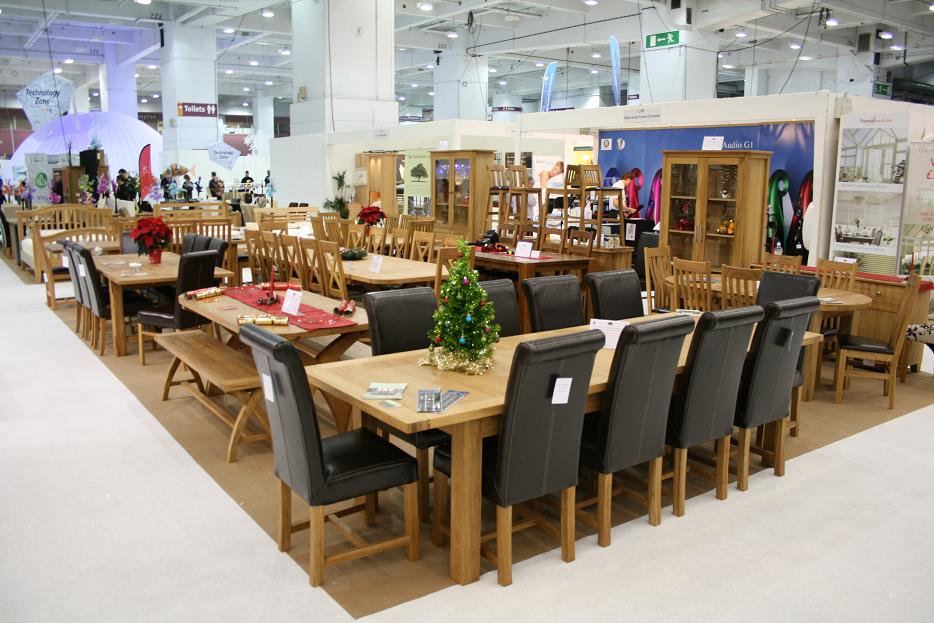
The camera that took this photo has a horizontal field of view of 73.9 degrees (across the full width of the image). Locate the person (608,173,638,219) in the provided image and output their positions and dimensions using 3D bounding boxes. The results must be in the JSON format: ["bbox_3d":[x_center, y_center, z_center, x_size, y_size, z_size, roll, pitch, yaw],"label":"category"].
[{"bbox_3d":[3.013,-2.192,11.697,0.571,0.852,0.555,-23,30,-22],"label":"person"}]

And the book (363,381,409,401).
[{"bbox_3d":[-0.491,0.487,3.761,0.247,0.046,0.213,-3,12,-3],"label":"book"}]
